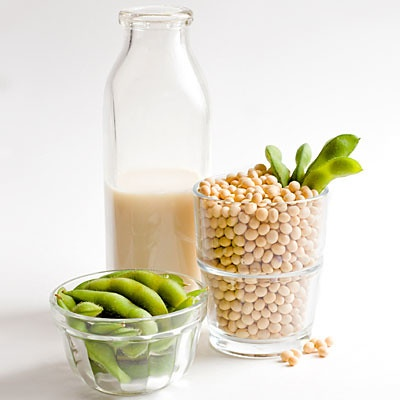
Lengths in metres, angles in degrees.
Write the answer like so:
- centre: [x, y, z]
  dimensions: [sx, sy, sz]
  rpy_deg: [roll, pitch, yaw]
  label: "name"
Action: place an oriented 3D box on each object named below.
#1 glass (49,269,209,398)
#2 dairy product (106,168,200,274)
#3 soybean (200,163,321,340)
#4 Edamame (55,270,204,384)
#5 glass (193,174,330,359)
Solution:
- centre: [-0.096, 0.154, 0.592]
  dimensions: [0.158, 0.078, 0.156]
  rpy_deg: [14, 18, 39]
  label: "glass"
- centre: [-0.076, 0.037, 0.909]
  dimensions: [0.215, 0.187, 0.186]
  rpy_deg: [0, 13, 3]
  label: "dairy product"
- centre: [0.034, 0.082, 0.779]
  dimensions: [0.263, 0.247, 0.249]
  rpy_deg: [-3, 5, -9]
  label: "soybean"
- centre: [-0.085, 0.138, 0.569]
  dimensions: [0.181, 0.084, 0.158]
  rpy_deg: [-1, 5, -5]
  label: "Edamame"
- centre: [0.083, 0.109, 0.765]
  dimensions: [0.228, 0.227, 0.203]
  rpy_deg: [4, 5, 5]
  label: "glass"
